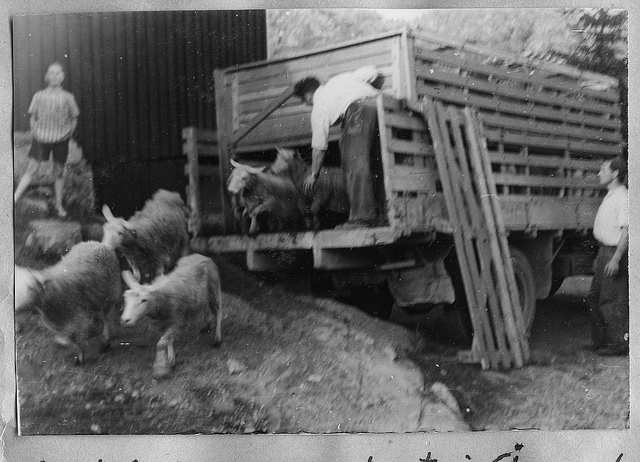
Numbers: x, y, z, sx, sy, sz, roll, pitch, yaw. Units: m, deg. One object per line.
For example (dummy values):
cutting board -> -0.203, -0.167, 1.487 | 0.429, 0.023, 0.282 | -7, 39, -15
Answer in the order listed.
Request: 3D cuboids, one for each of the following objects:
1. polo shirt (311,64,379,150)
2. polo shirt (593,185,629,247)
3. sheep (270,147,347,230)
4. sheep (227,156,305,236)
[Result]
polo shirt -> 0.113, -0.863, 3.876 | 0.469, 0.547, 0.199 | -8, -8, 7
polo shirt -> 2.032, -0.091, 4.019 | 0.183, 0.393, 0.364 | 3, 6, -10
sheep -> -0.005, -0.275, 4.069 | 0.229, 0.640, 0.944 | 15, 13, 32
sheep -> -0.347, -0.216, 4.001 | 0.660, 0.519, 0.223 | 0, 12, -40
